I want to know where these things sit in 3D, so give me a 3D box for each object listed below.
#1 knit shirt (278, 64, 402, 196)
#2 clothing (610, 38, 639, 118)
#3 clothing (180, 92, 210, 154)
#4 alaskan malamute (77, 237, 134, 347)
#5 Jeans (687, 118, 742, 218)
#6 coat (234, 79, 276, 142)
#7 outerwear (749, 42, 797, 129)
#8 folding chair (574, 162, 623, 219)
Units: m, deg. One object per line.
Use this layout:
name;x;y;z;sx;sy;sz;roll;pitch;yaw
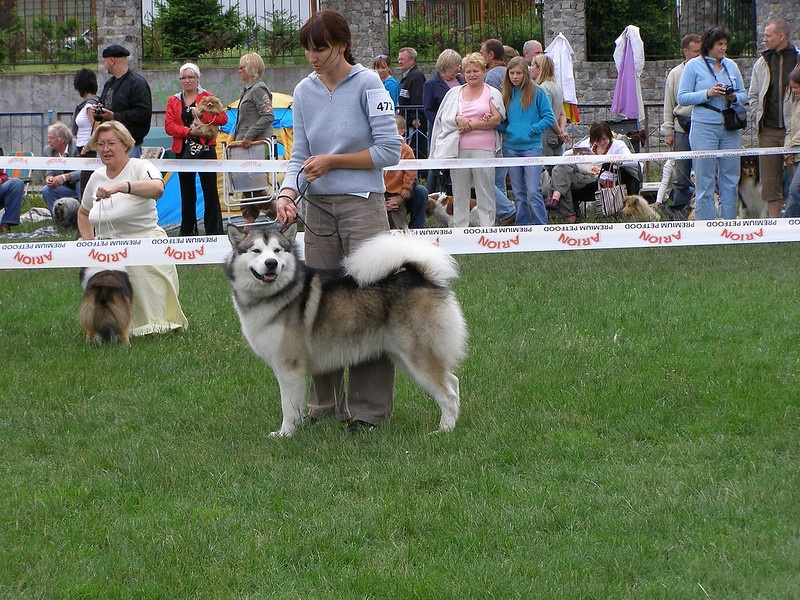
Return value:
knit shirt;-0.426;-1.531;10.713;1.297;1.547;0.995;1;5;17
clothing;3.524;-3.416;18.231;0.355;1.223;0.606;-4;11;-11
clothing;-2.630;-2.238;15.229;0.393;0.823;0.265;-3;6;1
alaskan malamute;-3.021;-0.036;12.669;0.429;0.850;1.609;5;17;-4
Jeans;3.867;-1.583;14.455;0.621;1.223;0.555;-3;11;-9
coat;-1.866;-2.423;15.109;0.467;0.747;0.538;-4;11;-13
outerwear;4.720;-2.682;14.982;0.401;1.142;0.728;-9;13;-35
folding chair;2.712;-1.517;16.132;0.296;0.702;0.702;0;4;38
